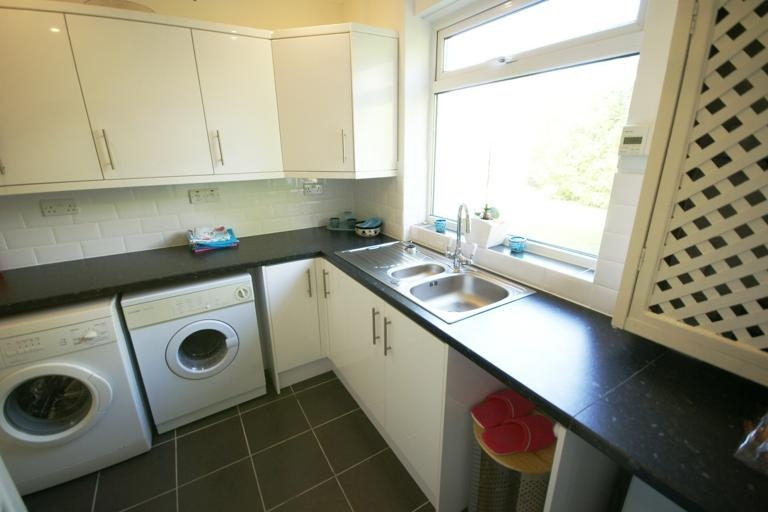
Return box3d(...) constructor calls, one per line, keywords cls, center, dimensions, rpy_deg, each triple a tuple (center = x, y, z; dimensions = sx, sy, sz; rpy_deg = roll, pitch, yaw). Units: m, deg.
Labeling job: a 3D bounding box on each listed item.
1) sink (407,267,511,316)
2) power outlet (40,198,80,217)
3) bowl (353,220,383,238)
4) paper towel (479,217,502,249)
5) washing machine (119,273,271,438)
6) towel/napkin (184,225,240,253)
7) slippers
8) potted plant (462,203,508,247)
box3d(cls="sink", center=(0.470, 0.237, 3.036), dimensions=(0.436, 0.271, 0.496), rpy_deg=(-12, 23, -29))
box3d(cls="power outlet", center=(-2.074, -0.312, 3.196), dimensions=(0.170, 0.114, 0.038), rpy_deg=(-3, 12, -29))
box3d(cls="bowl", center=(-0.134, -0.219, 3.782), dimensions=(0.161, 0.076, 0.139), rpy_deg=(4, 25, 6))
box3d(cls="paper towel", center=(0.650, -0.151, 3.098), dimensions=(0.162, 0.156, 0.084), rpy_deg=(-11, 21, -34))
box3d(cls="washing machine", center=(-1.316, 0.550, 3.511), dimensions=(0.740, 1.015, 0.744), rpy_deg=(-13, 25, -29))
box3d(cls="towel/napkin", center=(-1.203, -0.132, 3.549), dimensions=(0.345, 0.131, 0.262), rpy_deg=(-7, 18, -22))
box3d(cls="slippers", center=(0.667, 0.862, 2.632), dimensions=(0.385, 0.193, 0.282), rpy_deg=(-4, 17, -12))
box3d(cls="potted plant", center=(0.598, -0.191, 3.104), dimensions=(0.233, 0.211, 0.284), rpy_deg=(-9, 21, -28))
